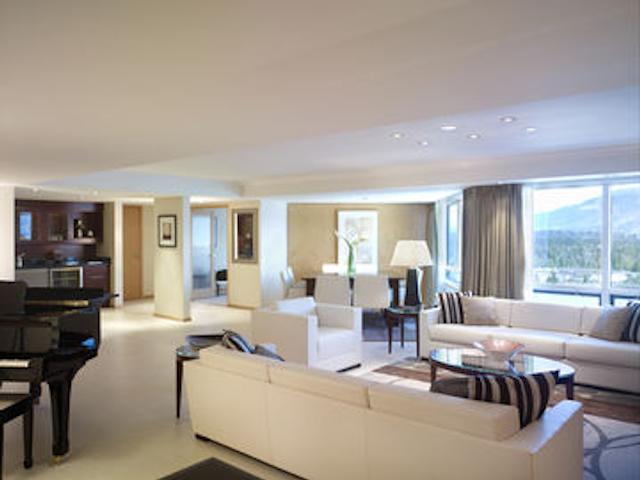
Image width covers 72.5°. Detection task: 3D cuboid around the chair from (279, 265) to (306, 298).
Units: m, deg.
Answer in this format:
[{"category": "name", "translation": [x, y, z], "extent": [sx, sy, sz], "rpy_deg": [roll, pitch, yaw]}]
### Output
[{"category": "chair", "translation": [-0.545, 0.827, 8.927], "extent": [0.519, 0.664, 0.925], "rpy_deg": [-1, -1, 2]}]

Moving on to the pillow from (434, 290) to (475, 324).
[{"category": "pillow", "translation": [1.750, 0.895, 5.705], "extent": [0.372, 0.282, 0.139], "rpy_deg": [-6, -34, 9]}]

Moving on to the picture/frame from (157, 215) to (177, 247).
[{"category": "picture/frame", "translation": [-2.973, -0.169, 8.426], "extent": [0.562, 0.621, 0.044], "rpy_deg": [3, 3, 36]}]

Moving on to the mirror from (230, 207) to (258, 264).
[{"category": "mirror", "translation": [-1.669, -0.096, 9.513], "extent": [0.762, 1.179, 0.092], "rpy_deg": [0, 2, 37]}]

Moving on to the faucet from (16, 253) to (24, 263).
[{"category": "faucet", "translation": [-5.923, 0.374, 8.603], "extent": [0.182, 0.150, 0.126], "rpy_deg": [3, 3, 20]}]

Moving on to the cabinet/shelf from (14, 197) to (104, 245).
[{"category": "cabinet/shelf", "translation": [-5.531, -0.336, 9.215], "extent": [0.229, 0.727, 1.692], "rpy_deg": [5, 5, 45]}]

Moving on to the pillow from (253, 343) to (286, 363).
[{"category": "pillow", "translation": [-0.454, 0.990, 3.889], "extent": [0.185, 0.098, 0.241], "rpy_deg": [1, -13, 45]}]

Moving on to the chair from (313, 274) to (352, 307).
[{"category": "chair", "translation": [0.210, 0.845, 7.610], "extent": [0.546, 0.726, 0.553], "rpy_deg": [1, 1, 20]}]

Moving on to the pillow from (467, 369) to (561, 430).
[{"category": "pillow", "translation": [1.138, 0.903, 2.540], "extent": [0.370, 0.333, 0.107], "rpy_deg": [1, -2, -2]}]

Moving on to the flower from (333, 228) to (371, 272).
[{"category": "flower", "translation": [0.632, 0.232, 8.782], "extent": [0.739, 0.755, 0.680], "rpy_deg": [4, -1, -20]}]

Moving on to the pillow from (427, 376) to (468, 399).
[{"category": "pillow", "translation": [0.815, 0.904, 2.703], "extent": [0.140, 0.049, 0.140], "rpy_deg": [-9, -8, 39]}]

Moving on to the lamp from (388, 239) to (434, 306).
[{"category": "lamp", "translation": [1.333, 0.472, 6.405], "extent": [0.551, 0.934, 1.059], "rpy_deg": [-1, 1, 13]}]
